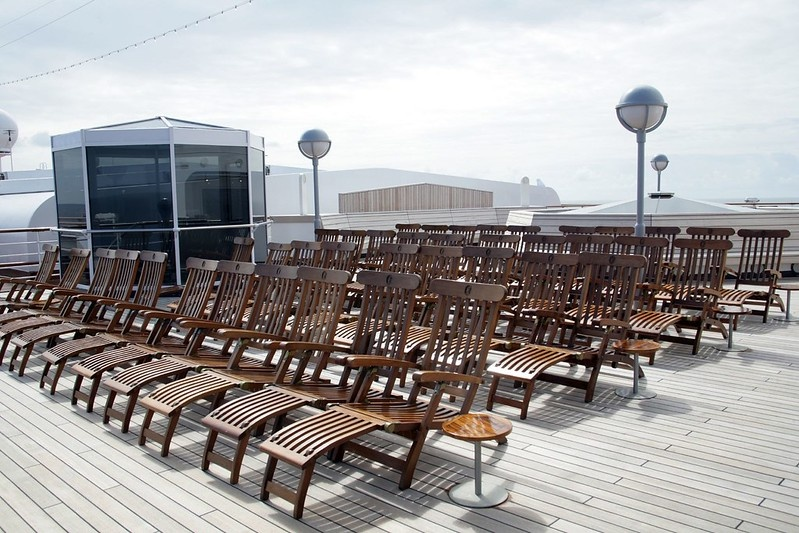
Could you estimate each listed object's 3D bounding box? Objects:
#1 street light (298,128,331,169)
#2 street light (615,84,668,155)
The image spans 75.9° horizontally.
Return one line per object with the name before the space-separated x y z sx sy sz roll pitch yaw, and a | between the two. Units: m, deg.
street light | -1.961 -2.713 11.842 0.552 0.816 0.602 -14 17 -37
street light | 3.774 -2.324 8.061 0.733 0.955 0.570 2 15 18
